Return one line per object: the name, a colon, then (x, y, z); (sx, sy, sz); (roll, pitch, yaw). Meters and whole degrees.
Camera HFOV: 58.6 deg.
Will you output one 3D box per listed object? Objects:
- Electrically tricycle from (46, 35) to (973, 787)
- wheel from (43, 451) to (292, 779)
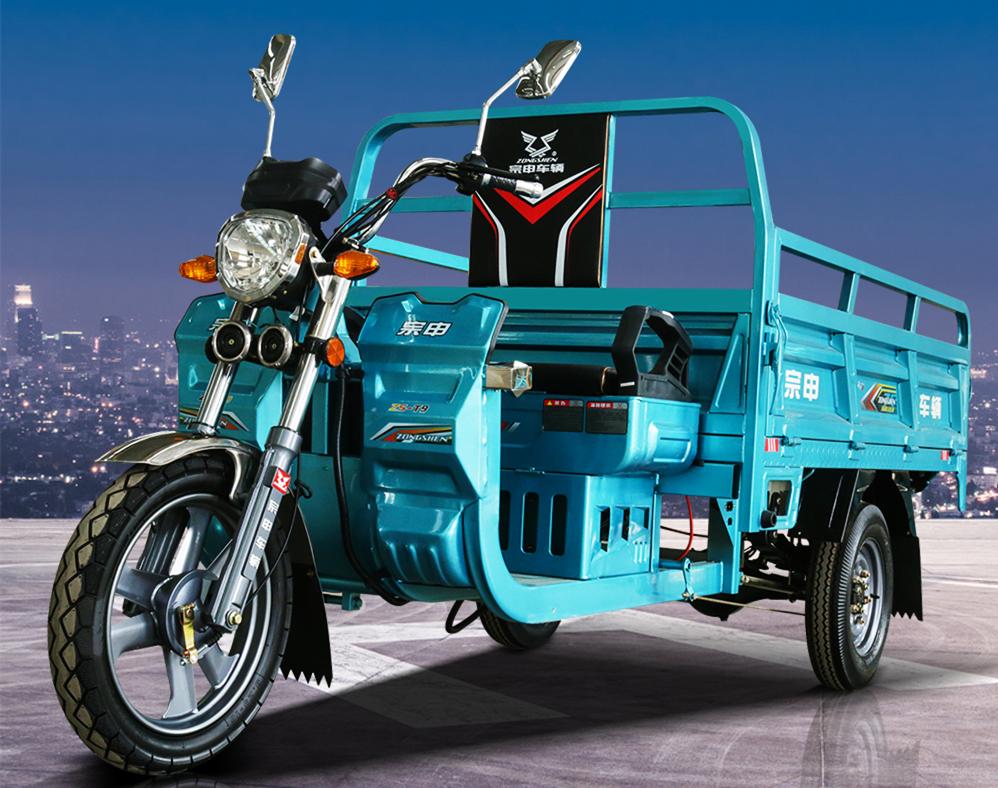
Electrically tricycle: (0.026, 0.034, 4.850); (2.509, 2.348, 5.382); (-1, -4, 41)
wheel: (-1.047, 0.705, 2.809); (0.751, 1.051, 0.693); (3, -4, 0)
